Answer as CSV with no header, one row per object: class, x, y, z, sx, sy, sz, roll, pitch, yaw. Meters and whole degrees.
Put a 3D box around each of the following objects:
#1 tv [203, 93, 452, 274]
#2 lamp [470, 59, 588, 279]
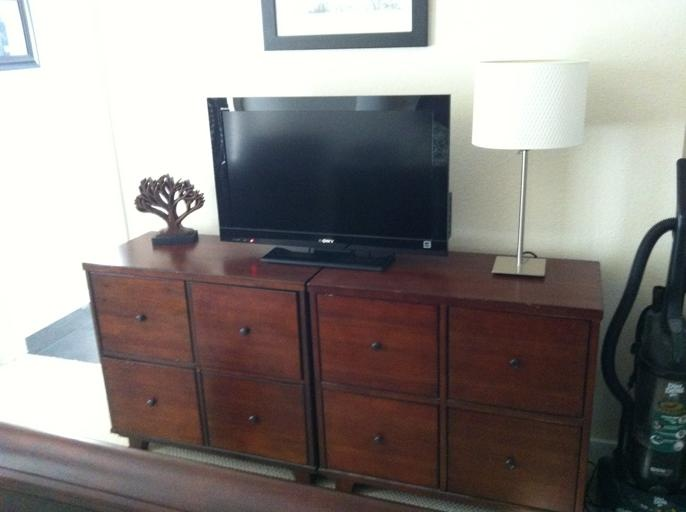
tv,-0.025,-0.304,2.482,0.839,0.519,0.205,3,26,13
lamp,0.677,-0.317,2.263,0.384,0.791,0.265,3,20,11
